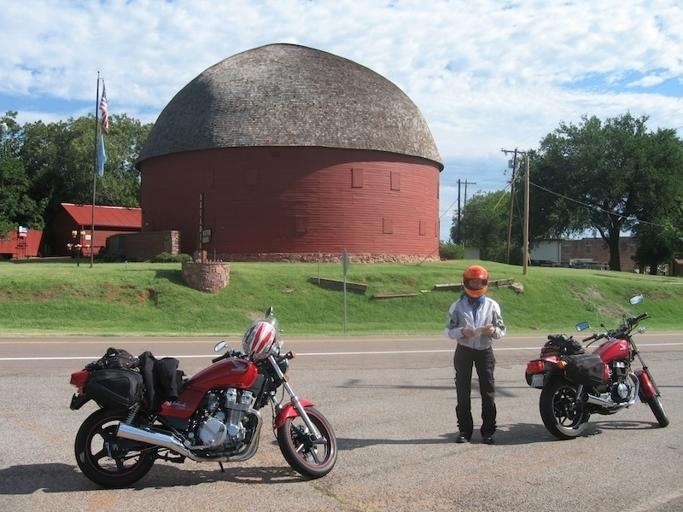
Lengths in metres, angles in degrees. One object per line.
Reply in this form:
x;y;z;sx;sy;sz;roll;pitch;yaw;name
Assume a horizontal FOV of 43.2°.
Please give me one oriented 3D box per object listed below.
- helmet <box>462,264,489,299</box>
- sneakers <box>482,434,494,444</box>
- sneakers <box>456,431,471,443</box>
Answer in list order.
2.359;0.412;15.105;0.465;0.527;0.586;-3;17;1;helmet
2.526;3.167;14.777;0.224;0.135;0.176;4;5;12;sneakers
2.117;3.149;14.842;0.283;0.153;0.273;3;5;3;sneakers
